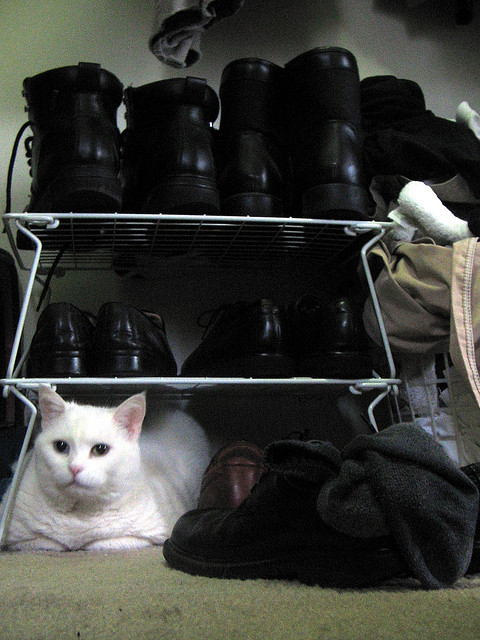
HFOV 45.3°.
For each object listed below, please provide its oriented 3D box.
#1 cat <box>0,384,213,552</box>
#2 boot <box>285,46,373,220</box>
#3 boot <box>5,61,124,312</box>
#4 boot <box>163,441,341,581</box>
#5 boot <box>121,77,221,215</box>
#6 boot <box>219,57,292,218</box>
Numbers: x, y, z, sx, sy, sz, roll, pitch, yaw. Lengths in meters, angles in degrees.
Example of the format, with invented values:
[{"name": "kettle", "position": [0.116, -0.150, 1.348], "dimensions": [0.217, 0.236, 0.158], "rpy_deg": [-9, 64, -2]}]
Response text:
[{"name": "cat", "position": [-0.158, 0.179, 0.726], "dimensions": [0.173, 0.113, 0.255], "rpy_deg": [2, -11, -4]}, {"name": "boot", "position": [0.124, -0.271, 0.830], "dimensions": [0.110, 0.258, 0.112], "rpy_deg": [-1, 3, 4]}, {"name": "boot", "position": [-0.224, -0.240, 0.857], "dimensions": [0.121, 0.185, 0.305], "rpy_deg": [-2, 2, -10]}, {"name": "boot", "position": [0.010, 0.168, 0.513], "dimensions": [0.185, 0.112, 0.076], "rpy_deg": [-7, -10, 25]}, {"name": "boot", "position": [-0.103, -0.242, 0.828], "dimensions": [0.150, 0.192, 0.152], "rpy_deg": [-1, 3, -6]}, {"name": "boot", "position": [0.021, -0.270, 0.845], "dimensions": [0.108, 0.251, 0.129], "rpy_deg": [-1, 3, 1]}]
